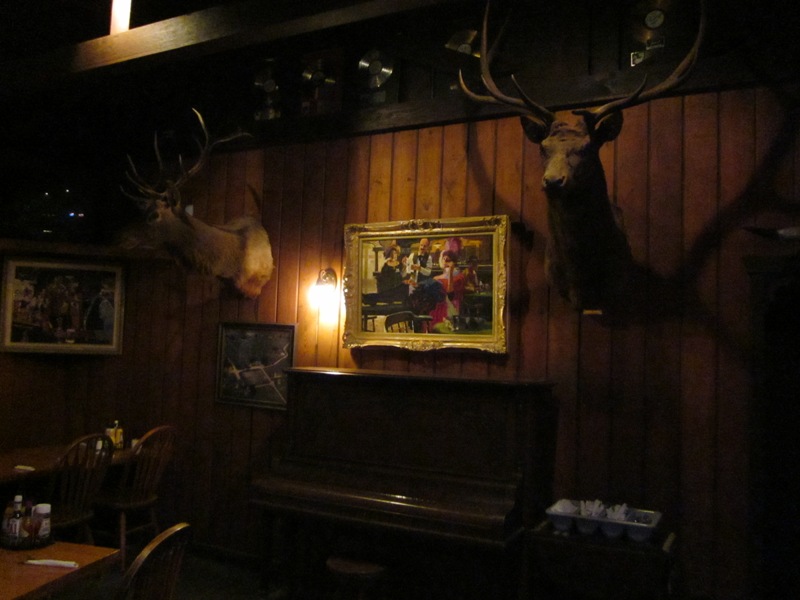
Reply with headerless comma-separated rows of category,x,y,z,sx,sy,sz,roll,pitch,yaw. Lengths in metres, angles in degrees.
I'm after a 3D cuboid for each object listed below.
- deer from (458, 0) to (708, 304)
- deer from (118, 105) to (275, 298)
deer,1.024,-0.834,4.329,1.073,1.736,0.894,4,-5,-13
deer,-1.725,-0.851,5.754,1.181,1.600,1.066,-1,-6,37
